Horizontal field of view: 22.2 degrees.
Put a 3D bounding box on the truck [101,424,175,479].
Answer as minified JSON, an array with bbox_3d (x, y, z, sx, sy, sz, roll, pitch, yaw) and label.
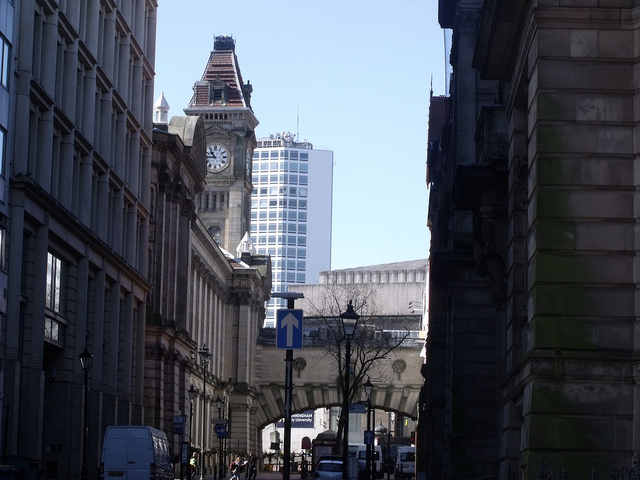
[{"bbox_3d":[-6.691,8.138,61.989,1.486,1.675,3.005,-1,-9,7],"label":"truck"}]
